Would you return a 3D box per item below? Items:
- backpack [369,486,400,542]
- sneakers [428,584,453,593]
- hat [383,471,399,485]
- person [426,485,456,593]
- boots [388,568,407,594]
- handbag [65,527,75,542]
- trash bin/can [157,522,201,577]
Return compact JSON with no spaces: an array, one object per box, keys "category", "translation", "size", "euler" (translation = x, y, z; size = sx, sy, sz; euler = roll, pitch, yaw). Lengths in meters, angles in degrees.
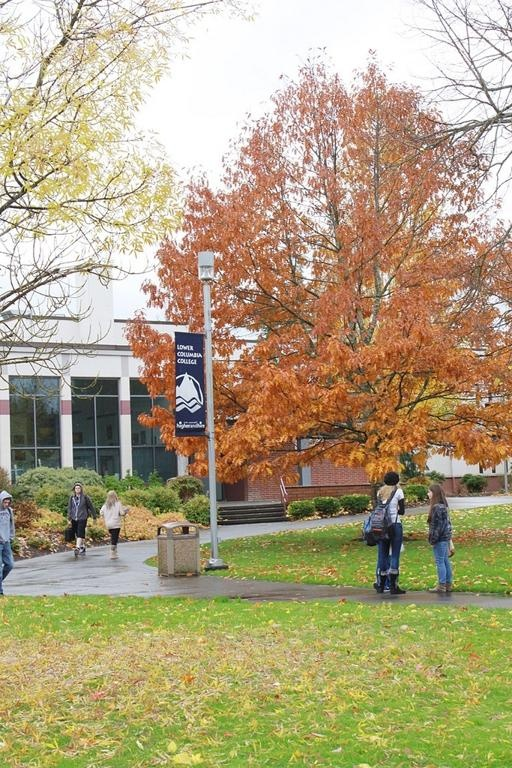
[{"category":"backpack","translation":[1.562,1.636,13.267],"size":[0.387,0.707,0.311],"euler":[-3,-5,7]},{"category":"sneakers","translation":[2.198,2.487,12.971],"size":[0.306,0.135,0.101],"euler":[2,0,32]},{"category":"hat","translation":[1.674,1.145,13.259],"size":[0.174,0.168,0.115],"euler":[5,-34,4]},{"category":"person","translation":[2.269,1.907,13.300],"size":[0.277,1.295,0.923],"euler":[-3,-5,9]},{"category":"boots","translation":[1.699,2.453,13.133],"size":[0.175,0.315,0.271],"euler":[-2,1,42]},{"category":"handbag","translation":[-3.864,3.141,22.302],"size":[0.139,0.363,0.384],"euler":[-4,-7,9]},{"category":"trash bin/can","translation":[-1.049,2.595,16.735],"size":[0.705,0.776,0.703],"euler":[0,-9,-12]}]
